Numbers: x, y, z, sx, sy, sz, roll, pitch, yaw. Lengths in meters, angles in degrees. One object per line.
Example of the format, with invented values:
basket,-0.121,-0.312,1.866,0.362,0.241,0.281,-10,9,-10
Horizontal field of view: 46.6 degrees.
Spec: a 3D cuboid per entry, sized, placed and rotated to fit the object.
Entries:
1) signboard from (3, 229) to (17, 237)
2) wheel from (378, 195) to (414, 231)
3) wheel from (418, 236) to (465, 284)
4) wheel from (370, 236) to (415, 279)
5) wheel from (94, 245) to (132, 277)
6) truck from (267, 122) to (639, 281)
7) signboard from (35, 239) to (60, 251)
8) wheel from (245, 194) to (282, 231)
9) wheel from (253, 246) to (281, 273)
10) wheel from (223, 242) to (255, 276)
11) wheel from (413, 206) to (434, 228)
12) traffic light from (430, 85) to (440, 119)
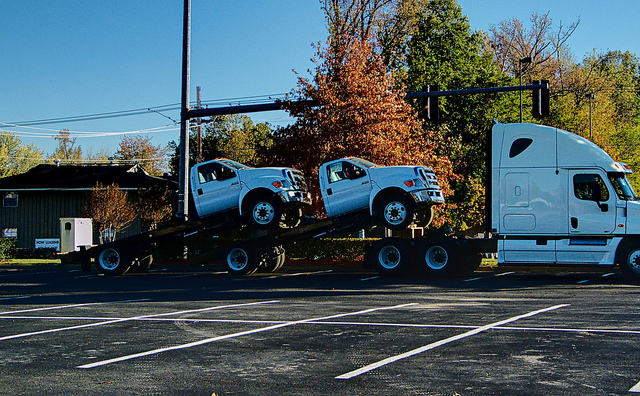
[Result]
signboard,-20.244,2.227,48.489,0.797,0.463,0.437,0,-4,-22
wheel,2.835,0.465,27.679,1.355,1.297,0.487,-1,0,18
wheel,4.549,2.178,27.687,1.699,1.565,1.719,-1,-3,0
wheel,2.776,2.251,28.147,1.566,1.503,0.538,0,-1,25
wheel,-8.606,2.567,31.014,1.030,0.995,0.337,-19,-11,16
truck,6.170,0.471,29.357,11.629,4.972,4.508,-2,0,15
signboard,-17.302,2.941,47.242,1.052,0.107,0.707,-1,39,-4
wheel,-2.196,0.459,29.066,1.390,1.327,0.481,4,1,13
wheel,-2.109,2.492,30.524,0.890,1.030,1.712,-1,-3,-1
wheel,-3.202,2.420,29.879,1.351,1.296,0.487,15,1,14
wheel,3.979,0.677,28.655,0.699,0.757,1.487,-2,-3,10
traffic light,4.674,-3.987,30.416,0.421,1.425,0.484,-3,-4,24
